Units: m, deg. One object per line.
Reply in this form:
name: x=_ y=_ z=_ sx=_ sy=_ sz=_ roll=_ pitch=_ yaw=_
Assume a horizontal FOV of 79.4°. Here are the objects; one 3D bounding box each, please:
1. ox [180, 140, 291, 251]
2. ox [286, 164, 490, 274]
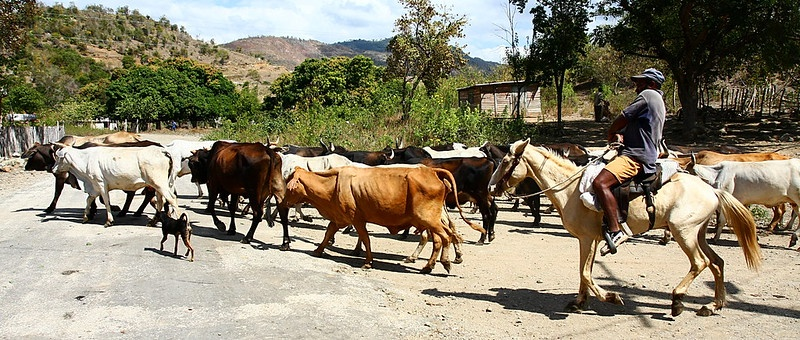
ox: x=-8.171 y=0.845 z=23.351 sx=8.218 sy=4.319 sz=2.263 roll=2 pitch=1 yaw=43
ox: x=-1.363 y=2.027 z=20.947 sx=9.123 sy=4.043 sz=2.177 roll=1 pitch=-2 yaw=27
